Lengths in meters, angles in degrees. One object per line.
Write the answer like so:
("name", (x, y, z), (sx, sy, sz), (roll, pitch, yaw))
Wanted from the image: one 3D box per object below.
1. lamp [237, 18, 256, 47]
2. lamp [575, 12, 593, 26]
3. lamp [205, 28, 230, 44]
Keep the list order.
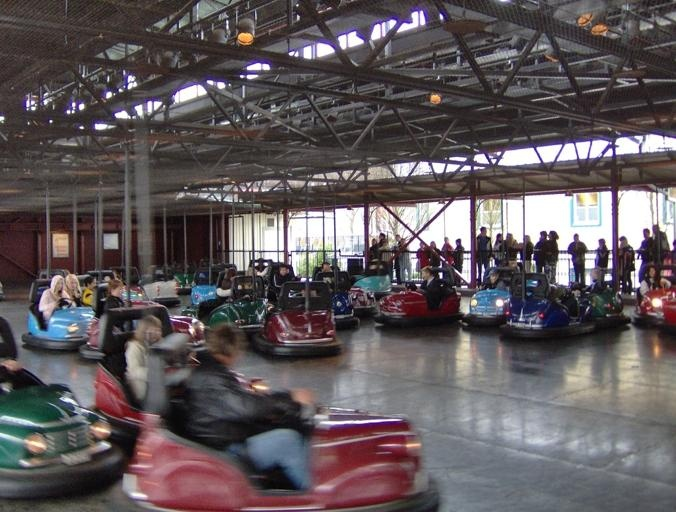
("lamp", (-1.043, -2.507, 6.905), (0.195, 0.366, 0.312), (-1, -1, -9))
("lamp", (3.063, -2.915, 7.553), (0.125, 0.034, 0.135), (-9, -14, -11))
("lamp", (-1.505, -2.757, 7.599), (0.265, 0.198, 0.111), (0, -1, -30))
